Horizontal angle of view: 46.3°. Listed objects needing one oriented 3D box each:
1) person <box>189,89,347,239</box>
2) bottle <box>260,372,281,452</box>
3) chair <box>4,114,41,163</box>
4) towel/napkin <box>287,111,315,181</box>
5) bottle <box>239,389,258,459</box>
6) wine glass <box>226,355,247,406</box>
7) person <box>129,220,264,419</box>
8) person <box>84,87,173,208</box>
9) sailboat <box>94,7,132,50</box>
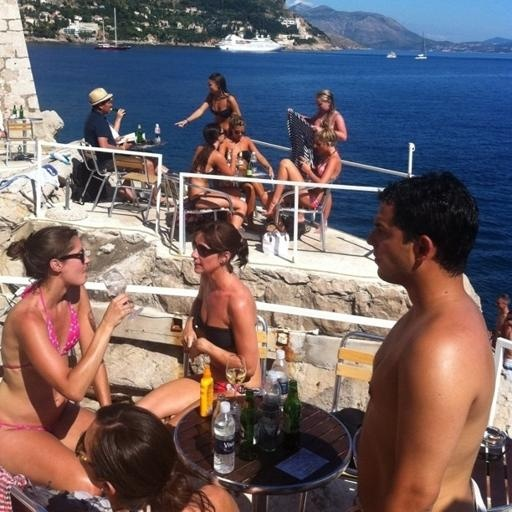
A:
[{"bbox_3d":[0.769,-1.367,7.934,0.906,2.548,1.060,-5,9,-40],"label":"person"},{"bbox_3d":[0.072,0.787,3.043,0.104,0.371,0.106,2,-6,0],"label":"bottle"},{"bbox_3d":[-5.500,-2.806,13.937,0.603,0.689,3.262,-4,21,-19],"label":"chair"},{"bbox_3d":[0.594,-1.434,7.910,0.290,0.839,0.316,-2,22,-9],"label":"towel/napkin"},{"bbox_3d":[-0.039,0.818,2.891,0.074,0.329,0.080,4,-2,0],"label":"bottle"},{"bbox_3d":[-0.116,0.699,3.296,0.162,0.278,0.168,4,14,-3],"label":"wine glass"},{"bbox_3d":[-0.269,0.398,3.719,0.557,1.499,0.588,7,10,43],"label":"person"},{"bbox_3d":[-2.304,-1.973,9.284,1.098,2.132,1.255,14,23,30],"label":"person"},{"bbox_3d":[-35.637,-55.962,147.465,7.970,10.395,31.478,-1,20,-12],"label":"sailboat"}]
